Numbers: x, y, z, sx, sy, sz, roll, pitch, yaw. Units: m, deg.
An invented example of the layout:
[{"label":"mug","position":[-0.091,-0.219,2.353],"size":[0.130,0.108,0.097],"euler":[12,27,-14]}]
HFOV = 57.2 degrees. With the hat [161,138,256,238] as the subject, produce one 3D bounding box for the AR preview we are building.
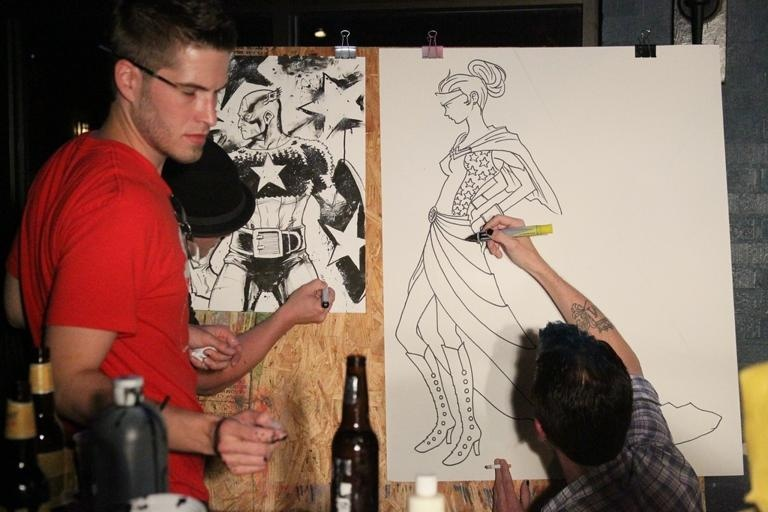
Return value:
[{"label":"hat","position":[-0.669,-0.243,2.695],"size":[0.289,0.355,0.168],"euler":[-34,-25,-27]}]
